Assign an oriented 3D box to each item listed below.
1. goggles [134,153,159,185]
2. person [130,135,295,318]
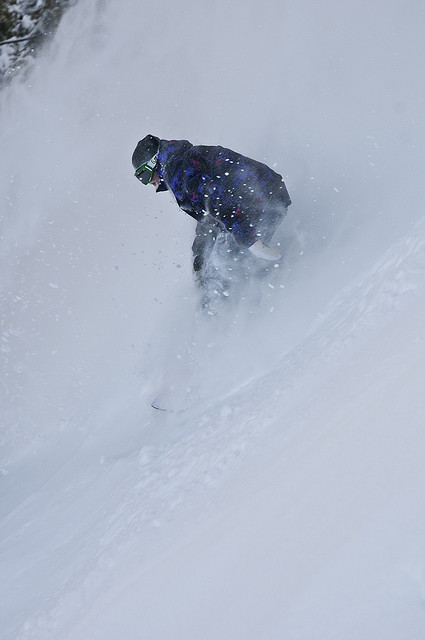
[{"bbox_3d":[-0.350,-0.791,3.994,0.145,0.105,0.051,-36,81,-17],"label":"goggles"},{"bbox_3d":[0.061,-0.463,4.044,0.591,0.773,0.500,-24,45,10],"label":"person"}]
